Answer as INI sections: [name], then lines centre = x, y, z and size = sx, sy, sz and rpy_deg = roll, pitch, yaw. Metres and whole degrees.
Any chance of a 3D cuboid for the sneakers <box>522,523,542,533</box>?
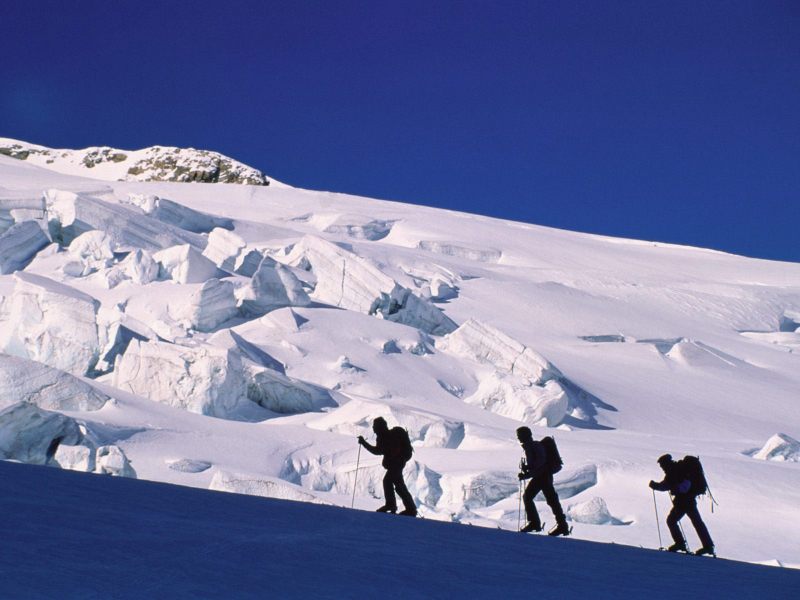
[sneakers]
centre = 2.594, 4.539, 29.338
size = 0.264, 0.081, 0.272
rpy_deg = -18, -28, 23
